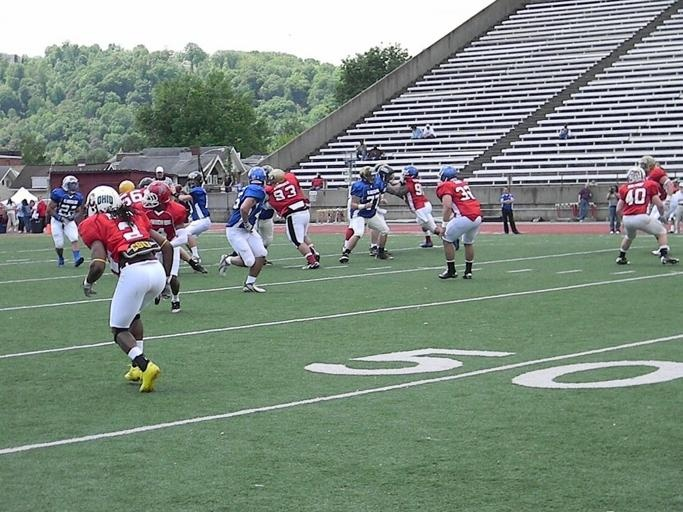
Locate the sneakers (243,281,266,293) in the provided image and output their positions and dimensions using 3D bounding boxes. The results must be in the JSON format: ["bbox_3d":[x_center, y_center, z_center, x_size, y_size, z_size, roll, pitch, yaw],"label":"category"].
[{"bbox_3d":[-1.356,0.503,11.120,0.432,0.181,0.155,2,10,3],"label":"sneakers"}]

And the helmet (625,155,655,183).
[{"bbox_3d":[5.893,-1.701,13.484,0.499,0.687,0.387,2,20,39],"label":"helmet"}]

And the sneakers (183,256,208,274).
[{"bbox_3d":[-3.073,0.201,14.418,0.401,0.166,0.134,32,17,-1],"label":"sneakers"}]

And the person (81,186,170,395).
[{"bbox_3d":[-1.870,0.231,5.971,0.701,1.682,1.482,-3,5,-16],"label":"person"}]

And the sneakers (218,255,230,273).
[{"bbox_3d":[-2.216,0.160,12.983,0.149,0.325,0.119,8,24,-31],"label":"sneakers"}]

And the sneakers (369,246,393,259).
[{"bbox_3d":[0.880,-0.069,16.204,0.223,0.291,0.673,-2,1,-36],"label":"sneakers"}]

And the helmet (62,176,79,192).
[{"bbox_3d":[-6.079,-1.618,15.367,0.416,0.345,0.324,-1,3,29],"label":"helmet"}]

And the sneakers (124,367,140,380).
[{"bbox_3d":[-1.773,1.002,5.806,0.076,0.098,0.218,3,2,-26],"label":"sneakers"}]

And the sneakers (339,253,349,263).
[{"bbox_3d":[0.076,0.047,15.367,0.213,0.211,0.497,-2,4,-1],"label":"sneakers"}]

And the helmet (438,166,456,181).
[{"bbox_3d":[1.879,-1.460,12.035,0.285,0.270,0.598,-1,4,8],"label":"helmet"}]

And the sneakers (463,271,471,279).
[{"bbox_3d":[2.243,0.336,12.125,0.145,0.113,0.239,-1,4,12],"label":"sneakers"}]

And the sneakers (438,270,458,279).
[{"bbox_3d":[1.899,0.332,12.123,0.328,0.158,0.131,0,3,5],"label":"sneakers"}]

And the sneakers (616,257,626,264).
[{"bbox_3d":[5.561,0.083,13.537,0.210,0.151,0.285,0,5,20],"label":"sneakers"}]
